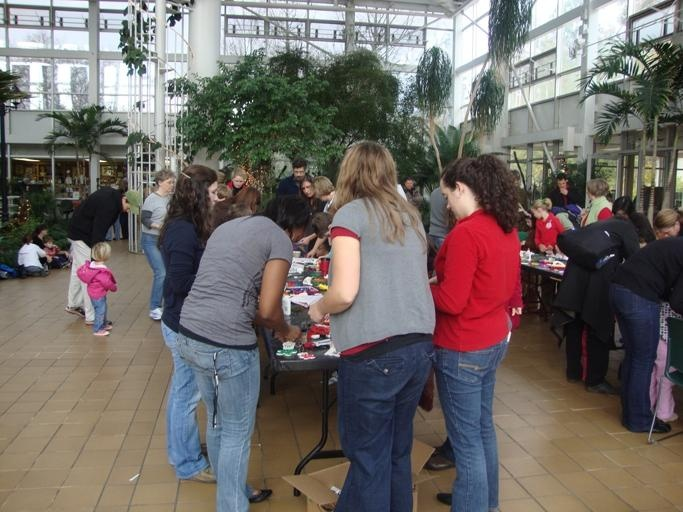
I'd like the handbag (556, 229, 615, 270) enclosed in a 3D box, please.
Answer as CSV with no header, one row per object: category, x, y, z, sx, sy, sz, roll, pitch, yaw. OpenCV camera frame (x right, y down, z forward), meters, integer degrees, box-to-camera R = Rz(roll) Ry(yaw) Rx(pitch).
handbag,2.150,-0.106,4.561,0.360,0.209,0.398,19,48,29

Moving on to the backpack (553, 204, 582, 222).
backpack,3.617,-0.699,8.293,0.478,0.190,0.422,-4,11,-18

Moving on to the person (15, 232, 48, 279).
person,-6.077,-0.032,10.229,0.496,0.743,0.624,-4,10,-30

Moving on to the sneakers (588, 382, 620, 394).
sneakers,2.366,1.183,4.653,0.265,0.120,0.101,-3,3,2

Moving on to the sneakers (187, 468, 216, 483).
sneakers,-0.860,1.388,3.323,0.212,0.101,0.076,5,-2,-5

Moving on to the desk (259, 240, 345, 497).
desk,-0.254,0.792,3.343,0.569,0.418,1.445,-3,11,-9

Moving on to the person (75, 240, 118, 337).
person,-2.979,0.354,6.353,0.422,1.080,0.702,-4,9,-26

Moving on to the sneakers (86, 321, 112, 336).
sneakers,-2.869,0.824,6.242,0.197,0.187,0.287,-3,9,-24

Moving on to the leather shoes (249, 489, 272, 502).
leather shoes,-0.477,1.422,3.120,0.142,0.062,0.054,-5,18,-9

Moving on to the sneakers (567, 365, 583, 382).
sneakers,2.199,1.107,4.965,0.165,0.177,0.096,1,3,-1

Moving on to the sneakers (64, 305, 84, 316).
sneakers,-3.631,0.731,7.079,0.071,0.086,0.186,16,-18,32
